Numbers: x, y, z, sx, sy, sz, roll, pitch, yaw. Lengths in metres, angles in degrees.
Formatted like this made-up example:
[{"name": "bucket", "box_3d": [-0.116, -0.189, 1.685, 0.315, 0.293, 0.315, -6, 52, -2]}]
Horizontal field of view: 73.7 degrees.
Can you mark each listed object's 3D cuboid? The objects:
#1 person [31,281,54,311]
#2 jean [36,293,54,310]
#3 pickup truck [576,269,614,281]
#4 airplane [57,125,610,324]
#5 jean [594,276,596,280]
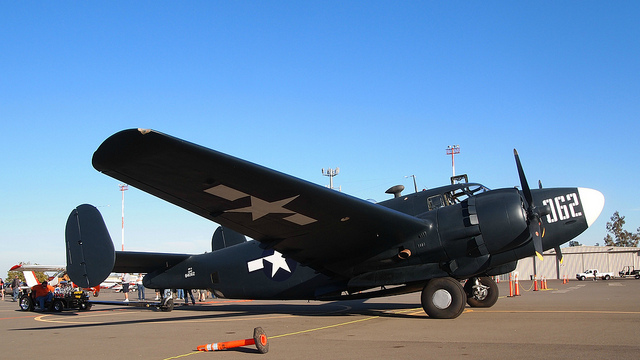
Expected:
[{"name": "person", "box_3d": [-14.099, 5.906, 21.702, 1.559, 1.386, 0.670, -9, -18, 39]}, {"name": "jean", "box_3d": [-13.751, 6.055, 21.358, 0.689, 0.752, 0.438, 8, -15, -24]}, {"name": "pickup truck", "box_3d": [36.588, 12.608, 55.787, 5.443, 1.298, 2.028, 1, -8, 0]}, {"name": "airplane", "box_3d": [0.305, 2.048, 15.921, 18.156, 5.838, 9.289, 2, -13, -4]}, {"name": "jean", "box_3d": [35.221, 12.484, 54.567, 0.168, 0.527, 0.617, 2, -27, 13]}]
